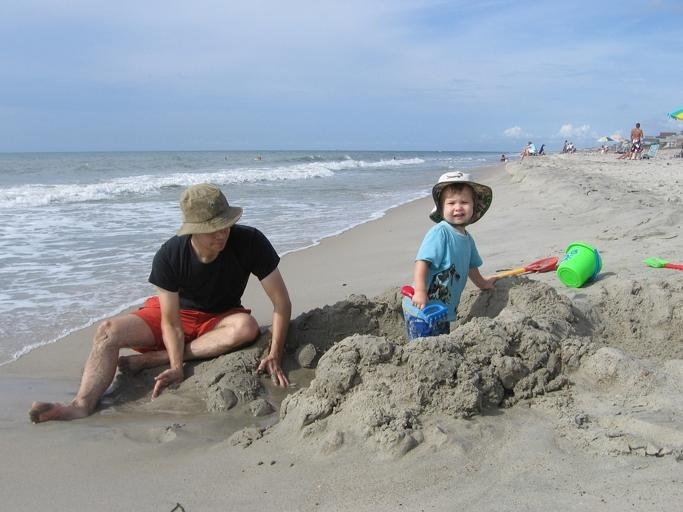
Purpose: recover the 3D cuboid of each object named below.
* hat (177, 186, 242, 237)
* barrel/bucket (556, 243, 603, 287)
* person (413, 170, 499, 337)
[{"bbox_3d":[-0.843,-0.287,3.870,0.366,0.188,0.365,-5,7,26],"label":"hat"},{"bbox_3d":[1.969,0.079,4.894,0.294,0.320,0.345,5,14,32],"label":"barrel/bucket"},{"bbox_3d":[0.732,0.010,4.005,0.462,1.121,1.143,2,13,21],"label":"person"}]
